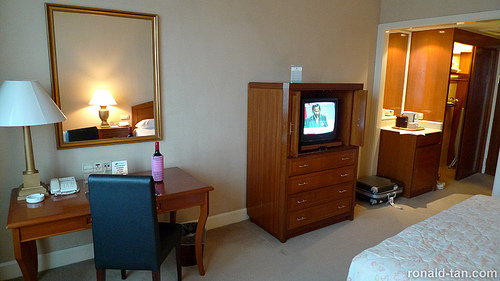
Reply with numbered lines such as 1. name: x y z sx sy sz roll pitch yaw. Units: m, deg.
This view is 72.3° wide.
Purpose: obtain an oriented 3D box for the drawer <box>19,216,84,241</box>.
1. drawer: -2.217 0.963 3.790 0.506 0.104 0.461 -1 0 -41

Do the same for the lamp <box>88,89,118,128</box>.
1. lamp: -1.849 -0.432 4.364 0.437 0.599 0.454 -7 13 -26

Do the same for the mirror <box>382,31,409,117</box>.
1. mirror: 2.651 -1.234 6.381 0.403 1.512 0.198 -2 14 -7

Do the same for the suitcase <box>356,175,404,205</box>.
1. suitcase: 2.142 0.812 5.840 0.598 0.212 0.521 -7 24 -31

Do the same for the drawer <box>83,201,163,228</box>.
1. drawer: -1.435 0.844 3.939 0.887 0.166 0.052 -8 14 -15

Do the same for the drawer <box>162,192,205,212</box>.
1. drawer: -0.805 0.729 4.151 0.375 0.076 0.336 -3 5 -33

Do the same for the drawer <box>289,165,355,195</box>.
1. drawer: 0.930 0.520 5.272 1.291 0.259 0.661 -7 11 -27

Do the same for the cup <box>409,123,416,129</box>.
1. cup: 2.894 -0.259 6.085 0.093 0.063 0.091 0 4 0

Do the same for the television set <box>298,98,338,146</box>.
1. television set: 1.228 -0.300 5.157 0.447 0.702 0.800 -4 3 -28

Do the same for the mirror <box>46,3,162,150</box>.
1. mirror: -1.811 -0.810 4.334 1.422 1.808 0.234 -9 15 -15
